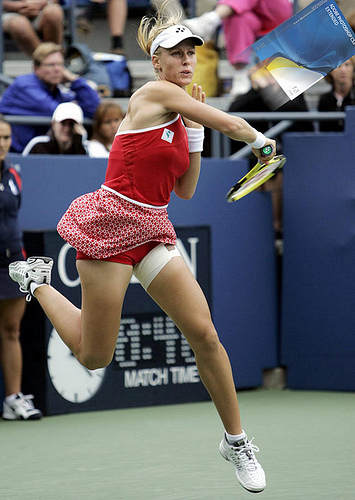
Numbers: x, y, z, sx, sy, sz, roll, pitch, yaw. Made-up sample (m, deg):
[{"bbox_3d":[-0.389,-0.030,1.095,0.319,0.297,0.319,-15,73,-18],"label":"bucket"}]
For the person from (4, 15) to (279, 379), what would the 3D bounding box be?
[{"bbox_3d":[-0.195,-0.229,2.188,0.591,1.408,1.013,-9,6,-39],"label":"person"}]

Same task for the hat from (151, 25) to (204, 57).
[{"bbox_3d":[-0.003,-0.695,1.943,0.100,0.048,0.139,-7,-10,-36],"label":"hat"}]

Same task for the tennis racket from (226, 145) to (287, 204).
[{"bbox_3d":[0.312,-0.251,2.162,0.207,0.322,0.051,6,-24,24],"label":"tennis racket"}]

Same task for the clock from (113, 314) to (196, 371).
[{"bbox_3d":[-0.162,0.733,4.201,0.705,0.372,0.047,6,-9,-29],"label":"clock"}]

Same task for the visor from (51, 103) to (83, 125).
[{"bbox_3d":[-0.844,-1.045,4.366,0.200,0.187,0.244,-3,5,15],"label":"visor"}]
